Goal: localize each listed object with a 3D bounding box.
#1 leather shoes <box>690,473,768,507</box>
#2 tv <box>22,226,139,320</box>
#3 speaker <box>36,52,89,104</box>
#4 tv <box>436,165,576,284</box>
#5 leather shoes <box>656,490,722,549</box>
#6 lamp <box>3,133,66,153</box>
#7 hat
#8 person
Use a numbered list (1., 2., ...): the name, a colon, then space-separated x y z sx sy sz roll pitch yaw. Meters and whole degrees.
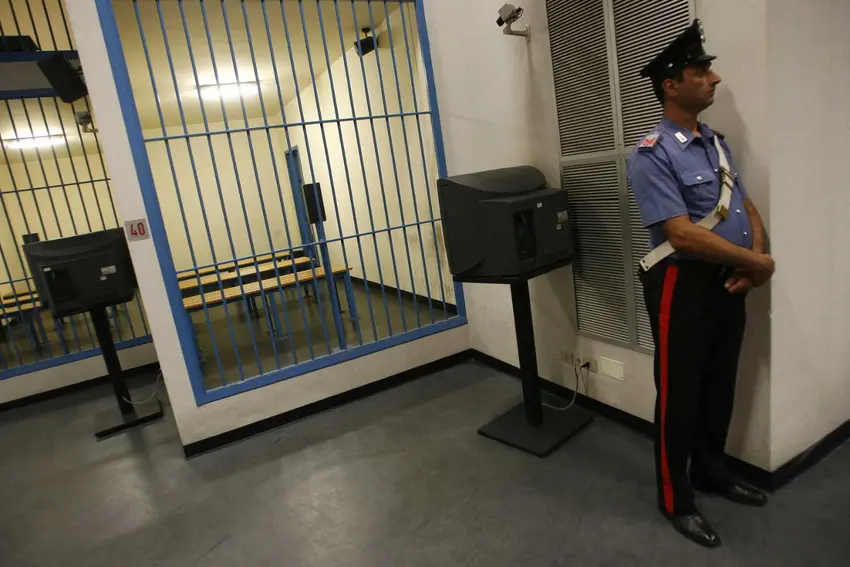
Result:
1. leather shoes: 1.932 1.295 3.900 0.416 0.165 0.145 1 18 29
2. tv: -2.982 -0.153 5.387 0.839 0.721 0.437 -18 35 -29
3. speaker: -3.045 -1.745 5.169 0.288 0.401 0.303 -18 21 -25
4. tv: 0.658 -0.456 4.470 0.918 0.776 0.500 -18 16 -39
5. leather shoes: 1.600 1.437 3.739 0.130 0.157 0.369 -21 20 -14
6. lamp: -5.328 -1.922 8.416 0.692 0.250 1.680 -19 22 -27
7. hat: 1.458 -1.310 3.596 0.361 0.216 0.320 -8 25 44
8. person: 1.608 0.031 3.547 0.755 2.915 0.901 -3 20 18
